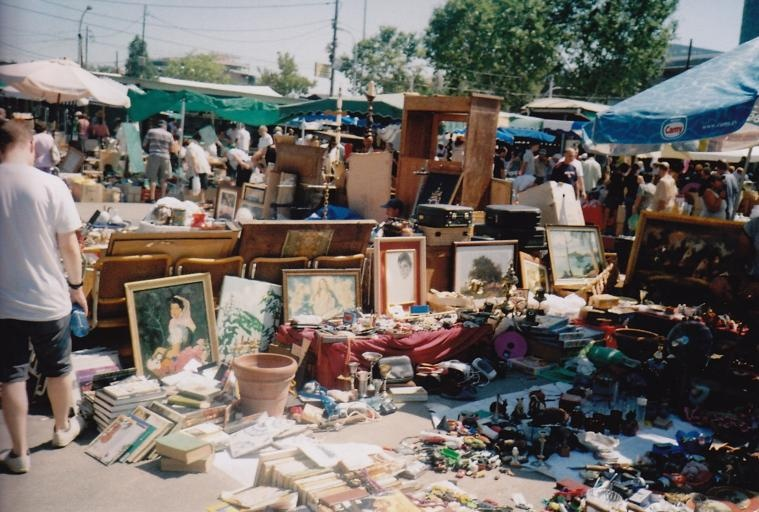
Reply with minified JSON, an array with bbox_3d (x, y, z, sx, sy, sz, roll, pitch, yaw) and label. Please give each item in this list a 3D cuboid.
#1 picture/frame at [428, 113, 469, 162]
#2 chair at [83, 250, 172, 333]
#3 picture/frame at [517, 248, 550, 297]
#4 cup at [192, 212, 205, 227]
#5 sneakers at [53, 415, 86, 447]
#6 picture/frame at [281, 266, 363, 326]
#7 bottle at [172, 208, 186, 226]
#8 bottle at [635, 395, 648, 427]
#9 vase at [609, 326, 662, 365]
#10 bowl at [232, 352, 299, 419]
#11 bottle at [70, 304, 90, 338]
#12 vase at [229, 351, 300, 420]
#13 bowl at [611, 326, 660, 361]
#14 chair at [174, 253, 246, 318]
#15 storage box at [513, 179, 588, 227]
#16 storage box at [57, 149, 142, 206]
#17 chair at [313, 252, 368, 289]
[{"bbox_3d":[1.938,-2.995,15.188,1.088,1.608,1.010,6,13,9],"label":"picture/frame"},{"bbox_3d":[-2.616,0.290,6.280,0.968,0.952,0.767,-2,11,-22],"label":"chair"},{"bbox_3d":[2.132,0.255,8.151,0.732,0.638,0.050,-4,-8,-40],"label":"picture/frame"},{"bbox_3d":[-2.259,-0.464,7.356,0.192,0.158,0.174,2,-4,-3],"label":"cup"},{"bbox_3d":[-2.694,1.540,5.108,0.116,0.111,0.300,5,14,6],"label":"sneakers"},{"bbox_3d":[-0.684,0.483,6.823,1.122,0.662,0.092,2,-5,-41],"label":"picture/frame"},{"bbox_3d":[-2.496,-0.497,7.280,0.229,0.219,0.212,2,1,3],"label":"bottle"},{"bbox_3d":[2.620,1.565,5.857,0.102,0.254,0.365,7,8,25],"label":"bottle"},{"bbox_3d":[2.857,0.984,6.531,0.377,0.232,0.384,19,13,41],"label":"vase"},{"bbox_3d":[-1.131,1.335,5.700,0.619,0.443,0.565,-1,-9,0],"label":"bowl"},{"bbox_3d":[-2.810,0.635,5.462,0.141,0.319,0.326,1,7,-26],"label":"bottle"},{"bbox_3d":[-1.162,1.340,5.714,0.673,0.491,0.624,1,-7,-29],"label":"vase"},{"bbox_3d":[2.864,0.976,6.541,0.385,0.228,0.366,6,13,-1],"label":"bowl"},{"bbox_3d":[-1.797,0.292,6.345,0.595,0.743,0.618,-2,23,-22],"label":"chair"},{"bbox_3d":[2.845,-0.868,9.686,1.521,0.952,0.757,1,8,-4],"label":"storage box"},{"bbox_3d":[-5.804,-1.487,11.918,1.672,0.950,1.522,4,27,-35],"label":"storage box"},{"bbox_3d":[-0.482,0.154,7.148,0.401,0.591,0.460,-3,21,-13],"label":"chair"}]
